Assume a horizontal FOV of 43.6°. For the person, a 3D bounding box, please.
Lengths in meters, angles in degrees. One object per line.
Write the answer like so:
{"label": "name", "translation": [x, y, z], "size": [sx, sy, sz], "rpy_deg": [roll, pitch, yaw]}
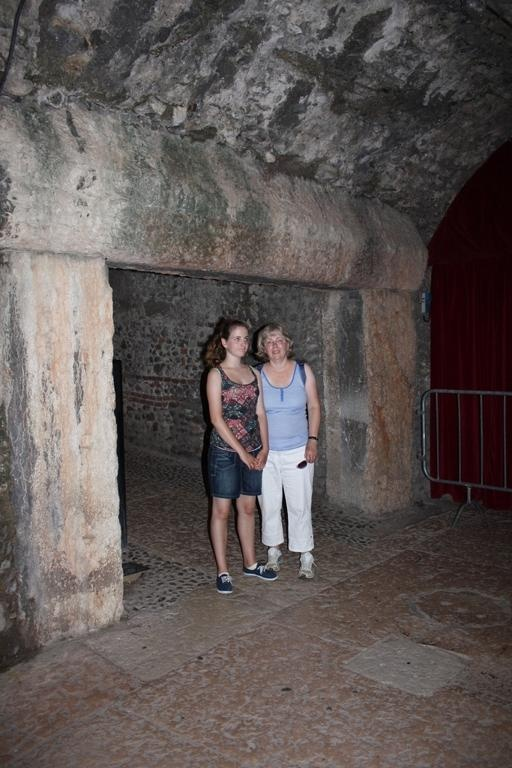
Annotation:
{"label": "person", "translation": [0.014, 0.338, 3.177], "size": [0.640, 1.306, 0.319], "rpy_deg": [-4, 6, -36]}

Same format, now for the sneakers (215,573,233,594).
{"label": "sneakers", "translation": [-0.154, 0.956, 3.082], "size": [0.081, 0.080, 0.119], "rpy_deg": [0, 5, -2]}
